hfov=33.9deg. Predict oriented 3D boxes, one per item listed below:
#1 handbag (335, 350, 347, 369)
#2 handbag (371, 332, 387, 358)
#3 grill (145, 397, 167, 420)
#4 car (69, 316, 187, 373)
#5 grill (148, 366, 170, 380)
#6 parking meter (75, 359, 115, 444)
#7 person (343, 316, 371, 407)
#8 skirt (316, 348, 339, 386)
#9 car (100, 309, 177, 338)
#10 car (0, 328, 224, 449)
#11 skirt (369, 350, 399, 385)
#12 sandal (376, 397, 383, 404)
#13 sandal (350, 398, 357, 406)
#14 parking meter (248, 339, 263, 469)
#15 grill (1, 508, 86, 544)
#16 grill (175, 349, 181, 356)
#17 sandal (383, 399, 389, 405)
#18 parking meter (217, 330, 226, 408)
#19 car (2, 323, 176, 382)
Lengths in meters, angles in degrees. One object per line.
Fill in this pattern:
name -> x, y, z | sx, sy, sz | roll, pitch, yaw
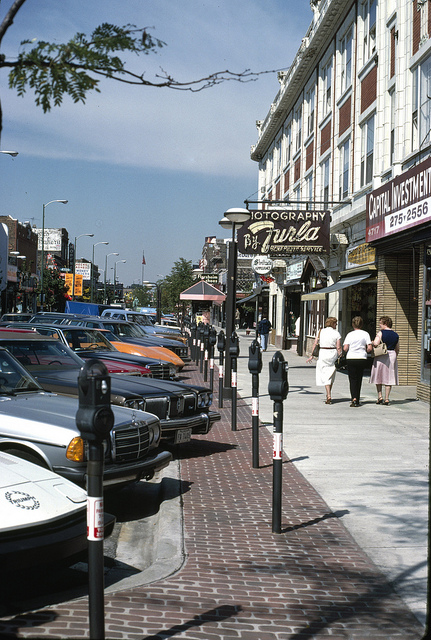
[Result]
handbag -> 2.248, 0.706, 12.651 | 0.202, 0.317, 0.336 | 2, 1, 10
handbag -> 2.934, 0.475, 12.646 | 0.257, 0.433, 0.356 | 2, 1, 13
grill -> -0.595, 0.878, 7.009 | 0.246, 0.230, 0.125 | -1, 3, -35
car -> -1.827, 0.501, 15.837 | 2.374, 0.697, 1.095 | 5, 4, 36
grill -> -0.915, 0.889, 11.798 | 0.165, 0.199, 0.721 | 2, 0, 18
parking meter -> -0.508, 0.375, 3.011 | 0.113, 0.421, 0.170 | -4, -3, 40
person -> 2.566, 0.761, 12.851 | 0.476, 1.553, 0.970 | 2, 1, 12
skirt -> 2.040, 0.856, 12.904 | 0.378, 0.648, 0.390 | 2, 1, 8
car -> -2.446, 0.160, 23.661 | 2.152, 0.916, 1.176 | 2, 10, 4
car -> -1.163, 0.694, 7.518 | 2.161, 0.633, 1.269 | 10, 6, 24
skirt -> 3.091, 0.869, 13.014 | 0.659, 0.746, 0.564 | 1, 2, 1
sandal -> 3.022, 1.498, 13.007 | 0.087, 0.112, 0.105 | 2, 1, -20
sandal -> 2.452, 1.474, 12.612 | 0.077, 0.129, 0.108 | 2, 1, -31
parking meter -> 0.412, 0.861, 7.330 | 0.184, 1.309, 0.211 | 0, -6, 3
grill -> -0.867, 1.082, 3.702 | 0.062, 0.110, 0.656 | 3, 0, 28
grill -> -1.079, 0.943, 20.389 | 0.167, 0.166, 0.302 | -1, 8, 3
sandal -> 3.105, 1.504, 12.888 | 0.079, 0.109, 0.227 | 2, 0, 12
parking meter -> 0.078, 0.911, 12.492 | 0.232, 1.370, 0.156 | 1, -5, -15
car -> -1.917, 0.612, 10.527 | 2.595, 0.802, 1.113 | 3, 4, 30
